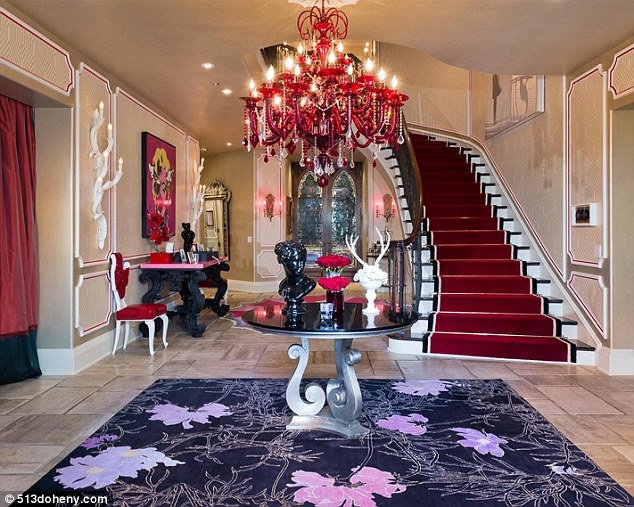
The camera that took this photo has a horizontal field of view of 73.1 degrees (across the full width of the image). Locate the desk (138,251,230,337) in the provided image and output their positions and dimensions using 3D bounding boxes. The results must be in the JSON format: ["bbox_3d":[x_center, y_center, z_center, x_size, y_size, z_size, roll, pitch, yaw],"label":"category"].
[{"bbox_3d":[-1.862,0.537,6.390,1.133,0.996,1.668,0,0,4],"label":"desk"}]

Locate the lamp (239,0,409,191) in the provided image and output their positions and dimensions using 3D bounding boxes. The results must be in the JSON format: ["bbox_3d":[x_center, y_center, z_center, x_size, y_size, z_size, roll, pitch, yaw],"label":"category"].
[{"bbox_3d":[0.060,-1.677,4.453,1.471,1.988,2.243,0,3,-1],"label":"lamp"}]
